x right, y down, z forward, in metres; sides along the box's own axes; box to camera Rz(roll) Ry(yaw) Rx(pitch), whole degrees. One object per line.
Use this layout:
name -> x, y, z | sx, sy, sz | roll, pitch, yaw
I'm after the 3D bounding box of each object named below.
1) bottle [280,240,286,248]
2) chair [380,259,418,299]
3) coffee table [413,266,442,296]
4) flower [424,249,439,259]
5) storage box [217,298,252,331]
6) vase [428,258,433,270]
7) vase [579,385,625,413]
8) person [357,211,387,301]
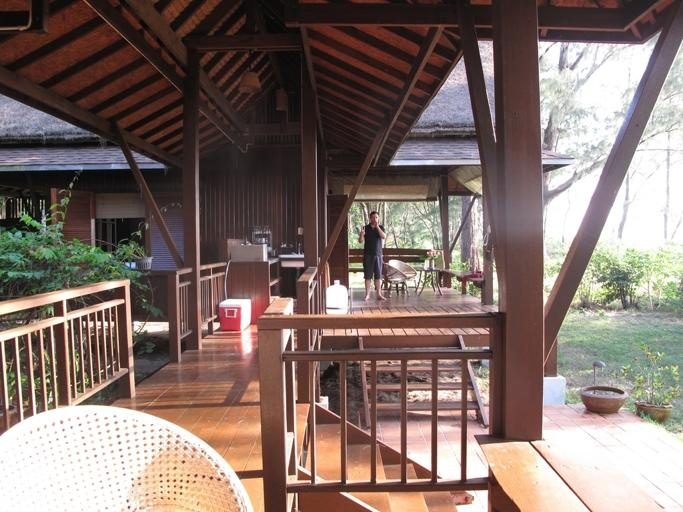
bottle -> -1.230, -0.249, 11.659 | 0.142, 0.188, 0.130 | 1, 0, 0
chair -> 1.217, 0.467, 11.326 | 0.672, 0.827, 0.758 | 0, 0, 15
coffee table -> 1.954, 0.554, 12.383 | 0.600, 0.739, 0.623 | 0, -5, 6
flower -> 2.018, -0.072, 12.030 | 0.239, 0.251, 0.271 | 0, -7, 5
storage box -> -1.543, 0.855, 7.926 | 0.328, 0.446, 0.651 | 2, -1, 3
vase -> 1.888, 0.150, 11.455 | 0.155, 0.294, 0.173 | 1, -2, 10
vase -> 3.573, 1.958, 7.443 | 0.607, 0.345, 0.546 | 1, 1, -40
person -> 0.585, 0.001, 10.214 | 0.485, 1.693, 1.845 | 1, 0, 5
